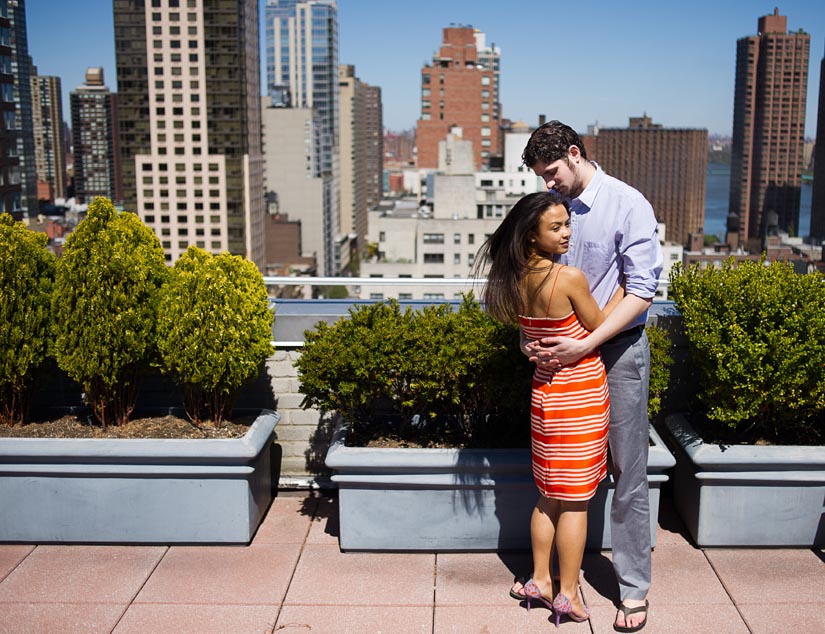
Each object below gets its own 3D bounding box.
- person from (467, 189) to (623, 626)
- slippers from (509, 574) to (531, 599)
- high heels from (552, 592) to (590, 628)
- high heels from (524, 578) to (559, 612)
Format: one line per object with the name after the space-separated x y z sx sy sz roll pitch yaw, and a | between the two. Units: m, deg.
0.531 0.375 3.473 0.521 1.754 0.294 3 10 15 | person
0.459 1.152 3.677 0.052 0.045 0.155 4 13 1 | slippers
0.666 1.186 3.540 0.077 0.130 0.226 6 13 38 | high heels
0.508 1.165 3.570 0.211 0.115 0.065 0 0 -44 | high heels
